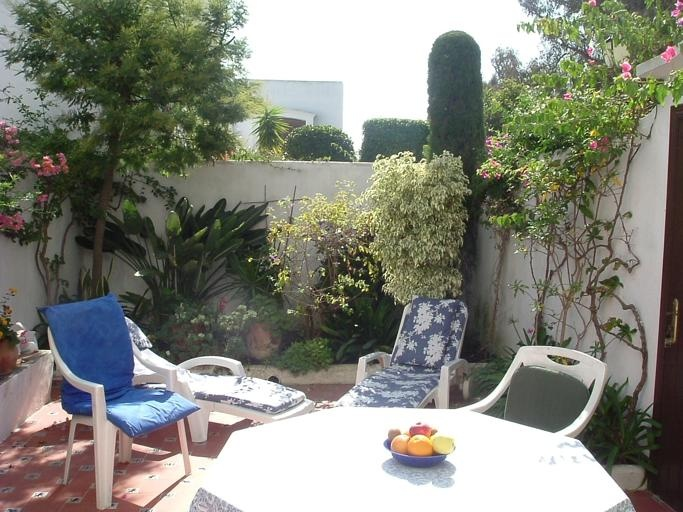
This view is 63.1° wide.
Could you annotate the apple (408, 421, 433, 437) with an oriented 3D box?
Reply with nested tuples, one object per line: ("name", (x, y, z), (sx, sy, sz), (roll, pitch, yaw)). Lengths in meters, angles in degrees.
("apple", (0.471, 1.012, 3.255), (0.084, 0.089, 0.085), (-29, -5, 39))

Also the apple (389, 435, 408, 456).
("apple", (0.331, 1.062, 3.172), (0.078, 0.098, 0.087), (6, 17, 21))

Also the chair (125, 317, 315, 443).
("chair", (-1.054, 1.273, 5.287), (1.845, 1.087, 0.963), (6, 6, 18))

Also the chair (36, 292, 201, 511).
("chair", (-1.698, 1.108, 5.227), (1.397, 2.210, 1.329), (3, 5, 28))

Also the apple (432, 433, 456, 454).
("apple", (0.582, 1.064, 3.143), (0.120, 0.103, 0.097), (6, -31, 14))

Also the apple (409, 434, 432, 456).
("apple", (0.439, 1.055, 3.163), (0.102, 0.109, 0.106), (-28, 10, -37))

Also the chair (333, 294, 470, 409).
("chair", (0.660, 1.032, 5.527), (0.955, 1.126, 1.883), (1, 3, 27))

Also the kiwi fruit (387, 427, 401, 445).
("kiwi fruit", (0.310, 1.046, 3.257), (0.070, 0.075, 0.087), (-27, -21, 4))
